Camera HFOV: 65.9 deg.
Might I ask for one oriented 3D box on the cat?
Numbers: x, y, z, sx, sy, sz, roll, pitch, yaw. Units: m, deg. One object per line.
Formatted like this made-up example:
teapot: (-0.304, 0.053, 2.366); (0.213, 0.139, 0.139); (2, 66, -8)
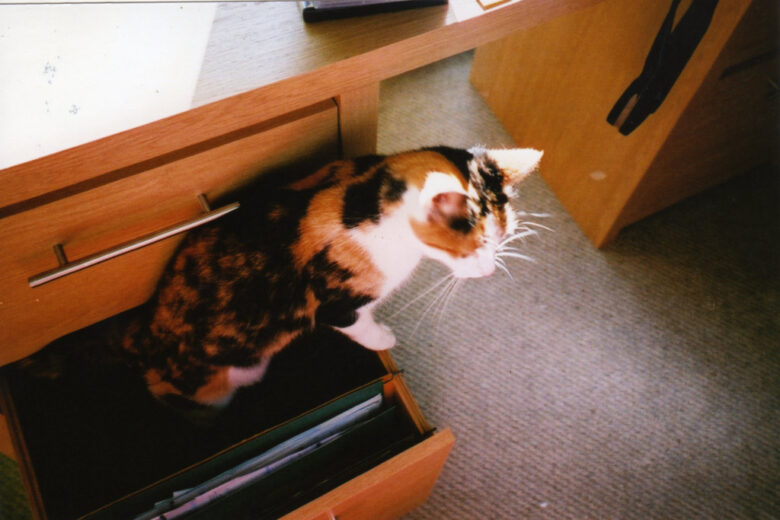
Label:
cat: (-0.237, 0.054, 1.169); (1.017, 0.395, 0.256); (-19, 42, 11)
